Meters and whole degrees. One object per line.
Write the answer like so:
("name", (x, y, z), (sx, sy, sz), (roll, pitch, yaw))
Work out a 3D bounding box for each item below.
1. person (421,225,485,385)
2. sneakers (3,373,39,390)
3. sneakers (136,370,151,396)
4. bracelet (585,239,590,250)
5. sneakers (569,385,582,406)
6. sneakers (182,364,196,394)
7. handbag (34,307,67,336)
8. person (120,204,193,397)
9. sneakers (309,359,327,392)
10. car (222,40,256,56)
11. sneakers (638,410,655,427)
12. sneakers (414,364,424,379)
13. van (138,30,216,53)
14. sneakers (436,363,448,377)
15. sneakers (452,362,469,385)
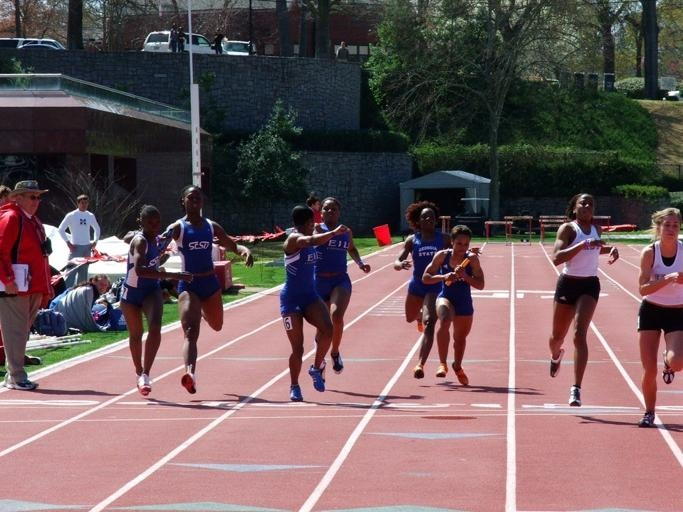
("person", (1.481, 0.660, 13.350), (0.751, 2.141, 1.282), (1, 7, 7))
("sneakers", (-4.125, 1.614, 13.019), (0.459, 0.222, 0.187), (1, 0, 6))
("sneakers", (-2.410, 1.585, 12.384), (0.140, 0.292, 0.281), (-1, 7, -15))
("bracelet", (2.899, -0.141, 11.946), (0.090, 0.128, 0.041), (4, 1, 6))
("sneakers", (2.722, 1.629, 11.802), (0.125, 0.252, 0.272), (2, 7, 12))
("sneakers", (-1.850, 1.496, 12.176), (0.140, 0.417, 0.192), (-3, 46, 8))
("handbag", (-4.743, 1.068, 16.450), (0.472, 0.475, 0.360), (-3, 6, -5))
("person", (-2.354, 0.543, 12.660), (0.815, 2.280, 1.262), (0, -3, -26))
("sneakers", (-0.295, 1.517, 12.721), (0.140, 0.446, 0.197), (-20, 13, -4))
("car", (-5.251, -10.652, 51.383), (1.151, 0.976, 1.952), (-1, 3, -5))
("sneakers", (3.302, 1.759, 10.944), (0.165, 0.170, 0.171), (3, 7, 17))
("sneakers", (0.989, 1.489, 12.950), (0.118, 0.229, 0.343), (1, 7, 3))
("van", (-7.873, -10.627, 50.321), (1.934, 1.573, 3.631), (9, 17, 31))
("sneakers", (1.302, 1.508, 13.133), (0.117, 0.224, 0.359), (1, 7, 4))
("sneakers", (1.560, 1.548, 13.283), (0.130, 0.373, 0.146), (-26, -3, 7))
